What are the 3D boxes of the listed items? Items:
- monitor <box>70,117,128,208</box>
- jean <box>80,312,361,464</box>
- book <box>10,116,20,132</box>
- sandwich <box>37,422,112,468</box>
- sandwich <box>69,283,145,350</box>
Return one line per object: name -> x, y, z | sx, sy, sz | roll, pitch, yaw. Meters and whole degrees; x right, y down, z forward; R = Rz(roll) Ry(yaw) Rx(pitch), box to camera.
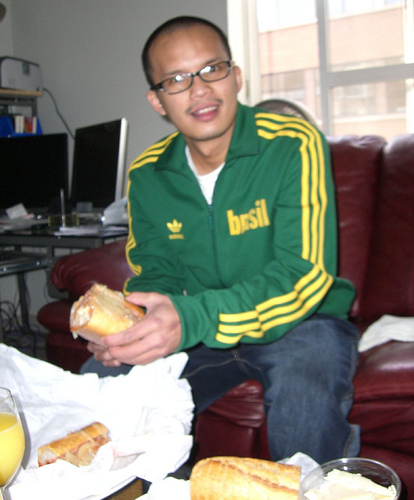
monitor -> -0.627, -0.492, 2.381 | 0.495, 0.453, 0.061 | 10, 8, 43
jean -> 0.127, 0.290, 0.952 | 0.434, 0.224, 0.385 | -2, 4, 15
book -> -1.388, -0.911, 3.002 | 0.059, 0.117, 0.025 | -2, 3, 11
sandwich -> -0.176, 0.266, 0.555 | 0.090, 0.028, 0.086 | -3, -15, -8
sandwich -> -0.187, 0.122, 0.719 | 0.117, 0.118, 0.049 | -55, -2, -42
